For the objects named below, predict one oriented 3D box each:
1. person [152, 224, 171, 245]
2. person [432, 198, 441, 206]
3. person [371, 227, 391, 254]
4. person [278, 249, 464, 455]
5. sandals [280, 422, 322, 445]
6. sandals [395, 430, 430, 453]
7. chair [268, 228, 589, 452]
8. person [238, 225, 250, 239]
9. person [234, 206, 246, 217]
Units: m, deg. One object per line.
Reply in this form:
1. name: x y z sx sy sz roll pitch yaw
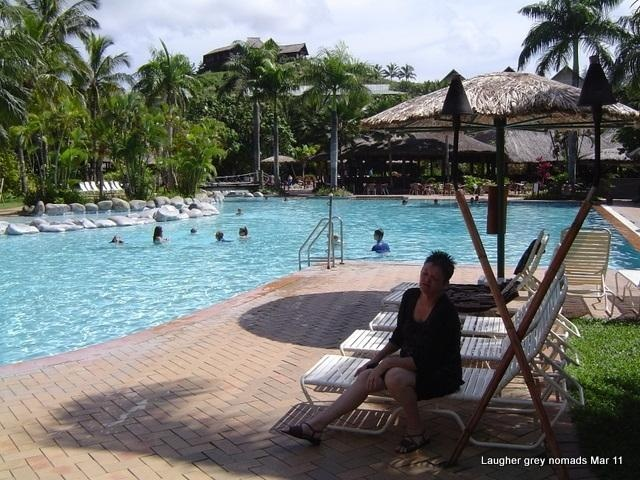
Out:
1. person: -6.277 -0.197 17.513 0.683 0.863 0.579 -12 20 -38
2. person: 7.877 -2.494 30.017 0.400 0.409 0.938 20 -15 -4
3. person: 1.952 -0.020 14.769 0.756 0.790 0.764 -3 22 -3
4. person: 0.372 0.863 3.450 1.515 1.420 0.714 -2 5 -9
5. sandals: -0.123 1.399 3.276 0.304 0.107 0.134 17 -34 3
6. sandals: 0.670 1.453 3.218 0.251 0.082 0.089 1 -1 -33
7. chair: 0.993 0.856 3.694 2.319 1.082 1.259 2 3 14
8. person: -2.934 -0.396 17.343 0.259 0.703 0.392 1 -10 -42
9. person: -4.669 -1.635 25.432 0.628 0.323 0.864 -3 -8 -3
